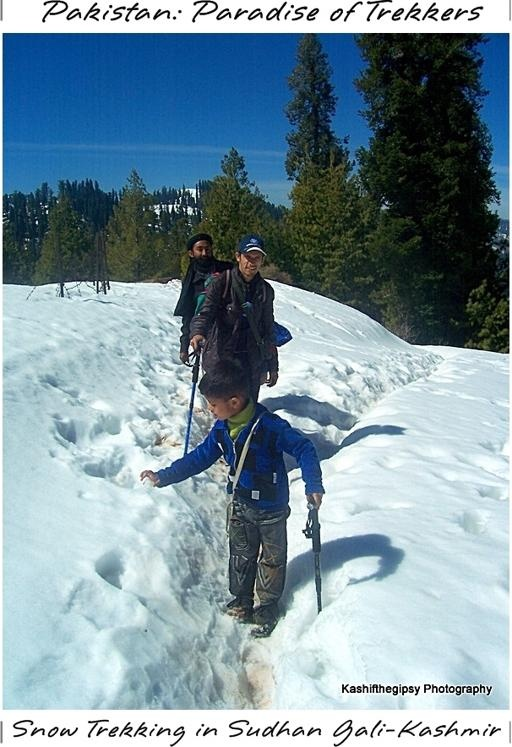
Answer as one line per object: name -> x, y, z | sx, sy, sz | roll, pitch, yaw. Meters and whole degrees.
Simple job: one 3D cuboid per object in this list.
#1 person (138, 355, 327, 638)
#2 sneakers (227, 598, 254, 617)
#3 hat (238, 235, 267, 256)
person -> -0.082, 0.723, 3.401 | 0.934, 1.638, 0.529 | -4, 7, 2
sneakers -> -0.098, 1.447, 3.464 | 0.134, 0.106, 0.049 | 11, -5, -6
hat -> -0.045, -1.033, 4.534 | 0.209, 0.168, 0.247 | -4, 7, 0
